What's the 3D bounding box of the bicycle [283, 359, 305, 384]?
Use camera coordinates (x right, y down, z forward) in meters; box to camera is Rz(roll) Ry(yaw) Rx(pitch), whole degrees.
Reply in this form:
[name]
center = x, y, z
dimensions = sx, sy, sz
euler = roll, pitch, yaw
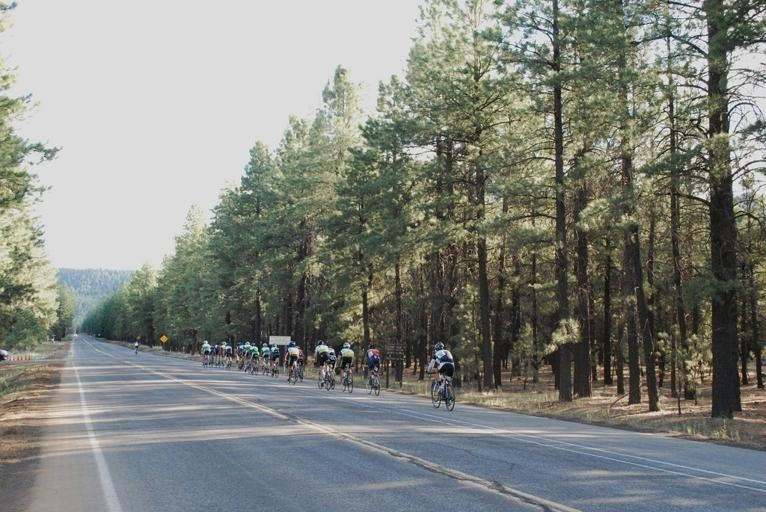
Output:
[bicycle]
center = -5.359, 7.075, 51.757
dimensions = 0.882, 1.302, 1.953
euler = 1, 0, -15
